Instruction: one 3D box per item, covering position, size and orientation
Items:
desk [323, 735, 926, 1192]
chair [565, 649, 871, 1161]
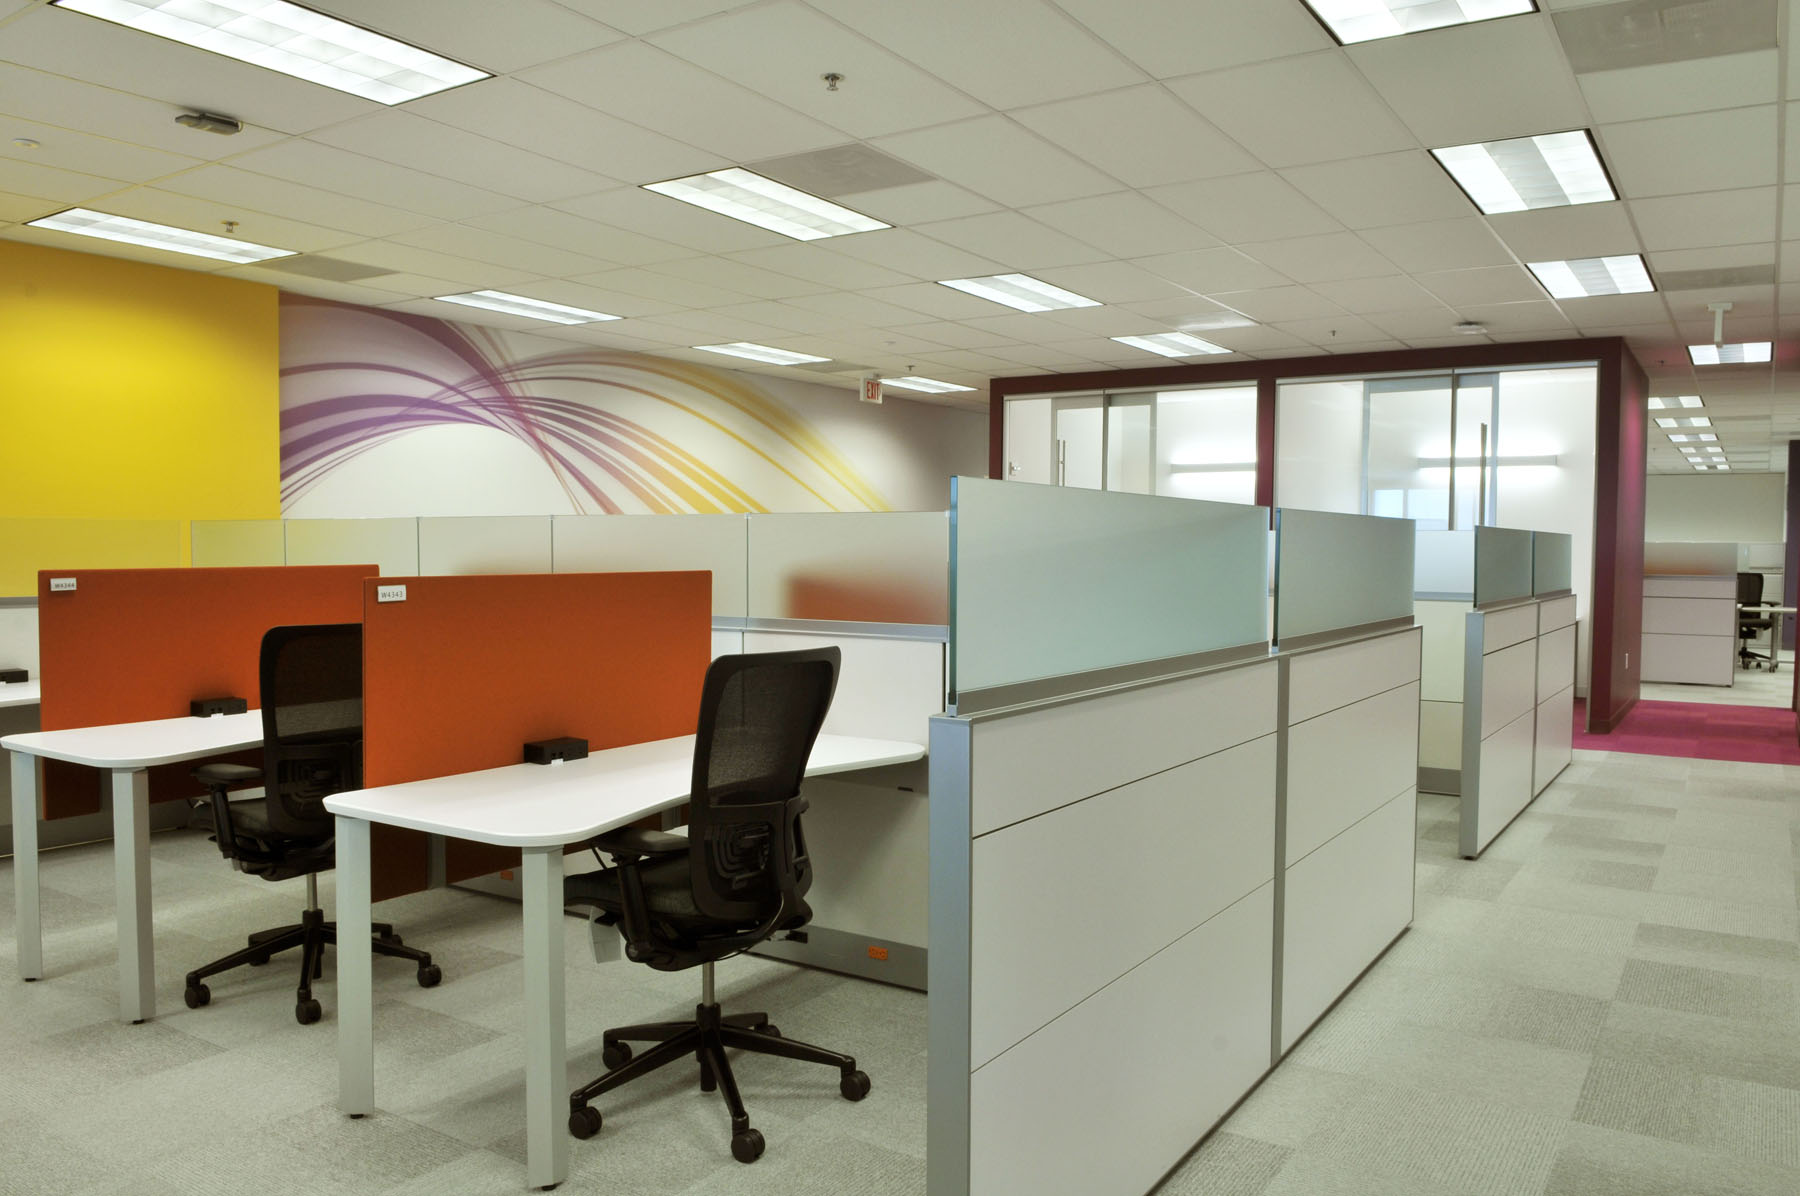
[{"bbox_3d":[-1.074,0.913,4.551,1.430,1.063,2.386,1,3,26],"label":"desk"},{"bbox_3d":[-0.667,1.022,4.493,1.162,1.531,1.049,-5,-7,16],"label":"chair"}]
